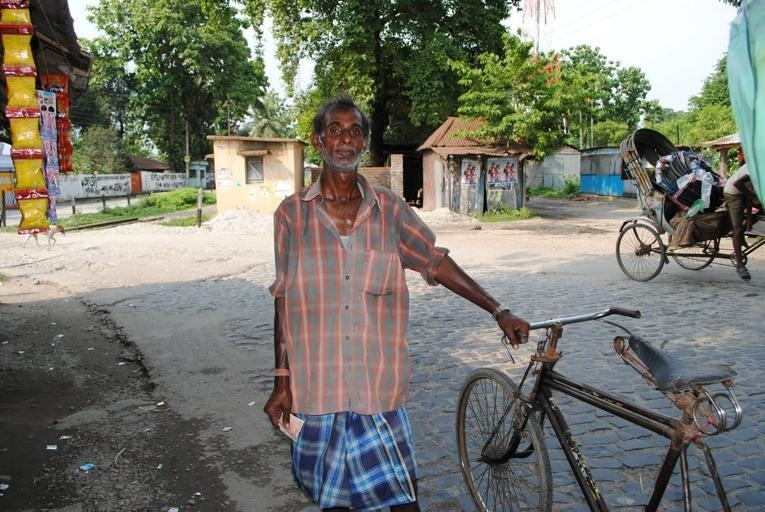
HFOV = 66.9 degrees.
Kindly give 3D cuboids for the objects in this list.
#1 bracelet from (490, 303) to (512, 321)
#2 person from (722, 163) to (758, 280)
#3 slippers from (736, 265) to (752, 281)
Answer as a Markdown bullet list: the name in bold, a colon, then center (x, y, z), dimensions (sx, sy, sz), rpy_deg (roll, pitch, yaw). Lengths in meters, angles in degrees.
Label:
- **bracelet**: center (0.709, 0.337, 3.491), dimensions (0.092, 0.098, 0.084), rpy_deg (-38, 18, 34)
- **person**: center (5.503, -0.477, 8.992), dimensions (0.490, 1.880, 0.862), rpy_deg (7, 16, 32)
- **slippers**: center (5.883, 0.240, 9.443), dimensions (0.189, 0.145, 0.383), rpy_deg (-11, 21, 17)
